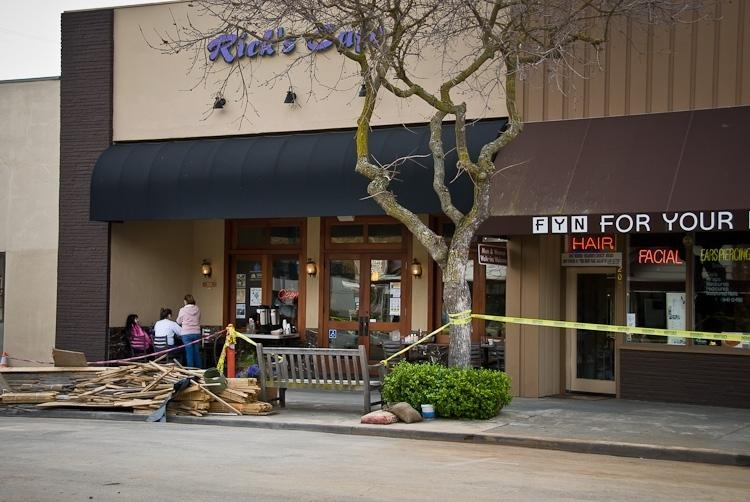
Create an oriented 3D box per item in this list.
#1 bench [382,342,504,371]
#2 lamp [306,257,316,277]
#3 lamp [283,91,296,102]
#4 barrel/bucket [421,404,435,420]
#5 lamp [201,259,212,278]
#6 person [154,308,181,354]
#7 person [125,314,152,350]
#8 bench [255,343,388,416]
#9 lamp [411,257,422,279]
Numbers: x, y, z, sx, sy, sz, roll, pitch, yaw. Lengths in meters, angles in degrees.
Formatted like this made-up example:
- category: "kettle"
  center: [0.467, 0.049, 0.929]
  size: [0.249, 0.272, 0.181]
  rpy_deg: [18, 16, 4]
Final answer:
- category: "bench"
  center: [2.147, 2.773, 18.671]
  size: [3.074, 0.789, 1.282]
  rpy_deg: [0, 1, 32]
- category: "lamp"
  center: [-1.975, 0.511, 21.603]
  size: [0.315, 0.551, 0.266]
  rpy_deg: [0, 1, 8]
- category: "lamp"
  center: [-2.336, -4.293, 19.363]
  size: [0.276, 0.339, 0.322]
  rpy_deg: [-1, 1, -35]
- category: "barrel/bucket"
  center: [1.055, 3.203, 13.797]
  size: [0.280, 0.247, 0.274]
  rpy_deg: [0, -5, 0]
- category: "lamp"
  center: [-5.564, 0.592, 22.952]
  size: [0.334, 0.590, 0.271]
  rpy_deg: [0, 1, 16]
- category: "person"
  center: [-6.106, 2.348, 20.555]
  size: [0.832, 1.212, 0.704]
  rpy_deg: [1, 1, 37]
- category: "person"
  center: [-7.014, 2.446, 20.679]
  size: [0.741, 1.127, 0.335]
  rpy_deg: [0, 1, -23]
- category: "bench"
  center: [-1.207, 2.815, 15.223]
  size: [2.734, 1.643, 1.013]
  rpy_deg: [-3, -3, 26]
- category: "lamp"
  center: [1.231, 0.506, 20.421]
  size: [0.327, 0.564, 0.245]
  rpy_deg: [0, 1, 11]
